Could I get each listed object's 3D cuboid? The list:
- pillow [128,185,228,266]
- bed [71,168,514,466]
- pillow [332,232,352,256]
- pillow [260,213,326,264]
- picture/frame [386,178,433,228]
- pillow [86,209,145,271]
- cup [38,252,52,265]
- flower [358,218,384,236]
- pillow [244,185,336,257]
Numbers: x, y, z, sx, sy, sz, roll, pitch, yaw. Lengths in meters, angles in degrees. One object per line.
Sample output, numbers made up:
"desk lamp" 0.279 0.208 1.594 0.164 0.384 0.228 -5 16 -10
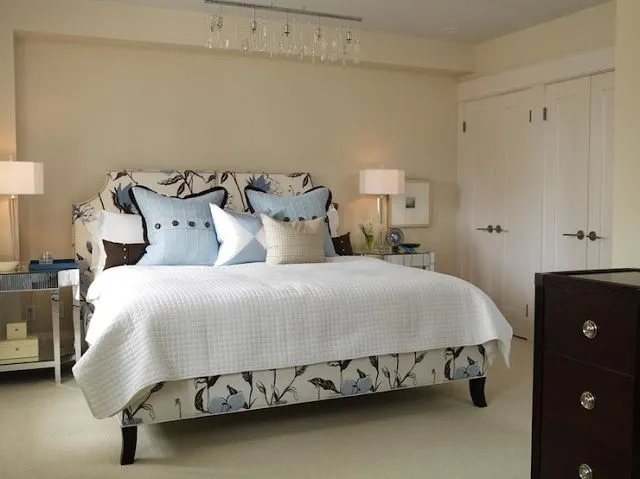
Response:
"pillow" -1.236 -0.094 4.275 0.616 0.623 0.265 -3 -38 -18
"bed" -0.303 0.703 3.586 2.525 0.943 1.445 -2 8 -20
"pillow" 0.218 0.059 4.910 0.200 0.203 0.062 -8 -16 -37
"pillow" -0.242 0.002 4.203 0.384 0.305 0.123 4 -17 -23
"picture/frame" 1.013 -0.429 5.744 0.512 0.604 0.039 2 -2 -23
"pillow" -1.842 -0.042 4.416 0.532 0.557 0.160 0 -9 -36
"cup" -2.305 0.158 4.160 0.084 0.095 0.089 0 -5 0
"flower" 0.565 -0.135 5.395 0.190 0.159 0.200 4 4 -14
"pillow" -0.290 -0.158 4.451 0.607 0.617 0.213 7 -33 -32
